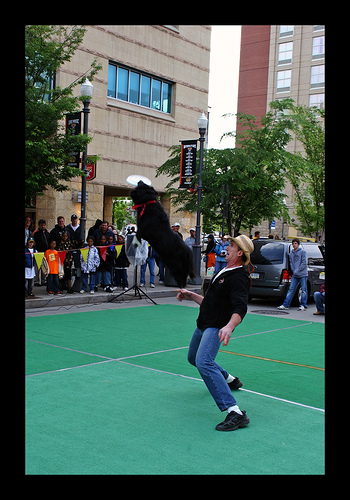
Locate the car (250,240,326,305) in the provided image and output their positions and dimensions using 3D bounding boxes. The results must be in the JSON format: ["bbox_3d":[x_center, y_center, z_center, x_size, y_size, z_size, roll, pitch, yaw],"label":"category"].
[{"bbox_3d":[3.711,0.515,14.985,3.261,1.528,1.772,-5,2,-42],"label":"car"}]

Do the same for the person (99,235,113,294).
[{"bbox_3d":[-1.991,0.576,14.926,0.365,1.276,0.889,-1,1,-7],"label":"person"}]

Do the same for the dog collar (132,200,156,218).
[{"bbox_3d":[-0.101,-0.133,1.648,0.017,0.056,0.060,26,13,-2],"label":"dog collar"}]

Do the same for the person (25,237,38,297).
[{"bbox_3d":[-3.563,0.421,12.809,0.232,1.449,0.748,-1,1,-11],"label":"person"}]

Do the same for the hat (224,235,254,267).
[{"bbox_3d":[0.655,0.008,5.226,0.232,0.322,0.533,-1,1,5],"label":"hat"}]

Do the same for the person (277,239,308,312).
[{"bbox_3d":[3.156,0.660,13.685,0.646,1.892,1.327,-1,1,12],"label":"person"}]

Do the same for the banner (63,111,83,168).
[{"bbox_3d":[-3.794,-4.122,19.233,1.090,2.146,0.096,7,8,32],"label":"banner"}]

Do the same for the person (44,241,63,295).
[{"bbox_3d":[-3.155,0.475,13.445,0.428,1.418,0.605,-1,1,-12],"label":"person"}]
